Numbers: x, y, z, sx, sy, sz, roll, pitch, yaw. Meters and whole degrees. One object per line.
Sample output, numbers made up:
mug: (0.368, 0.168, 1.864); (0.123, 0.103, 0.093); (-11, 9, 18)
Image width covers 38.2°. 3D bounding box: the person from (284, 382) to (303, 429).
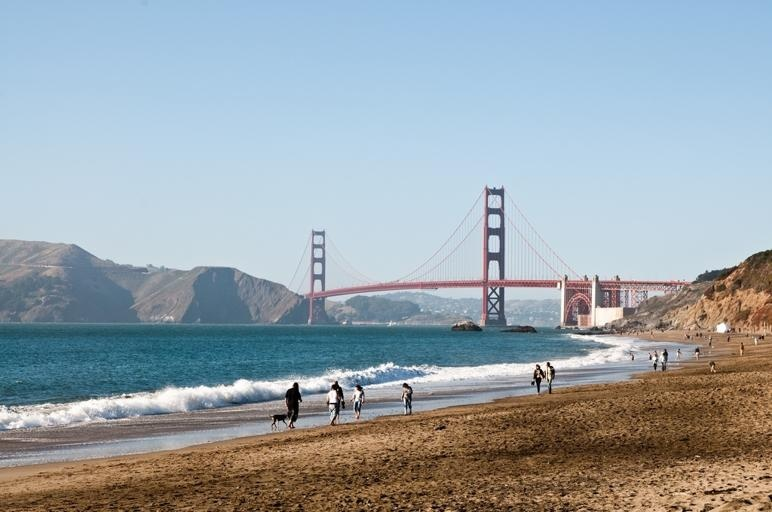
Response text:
person: (-4.060, 6.508, 48.715); (0.566, 1.516, 1.406); (-1, 0, -5)
